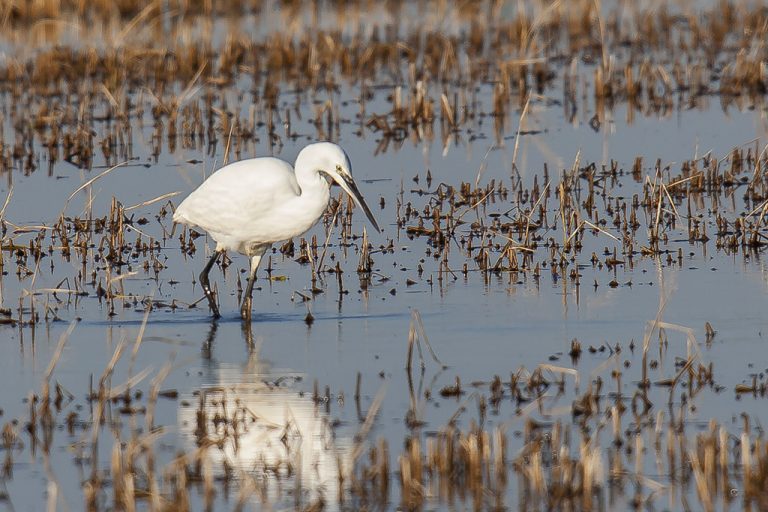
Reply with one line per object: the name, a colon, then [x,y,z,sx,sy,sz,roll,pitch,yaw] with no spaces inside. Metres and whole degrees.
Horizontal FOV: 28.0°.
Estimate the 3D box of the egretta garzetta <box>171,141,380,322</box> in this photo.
egretta garzetta: [-1.279,-0.208,17.049,2.300,2.330,0.784,14,21,15]
